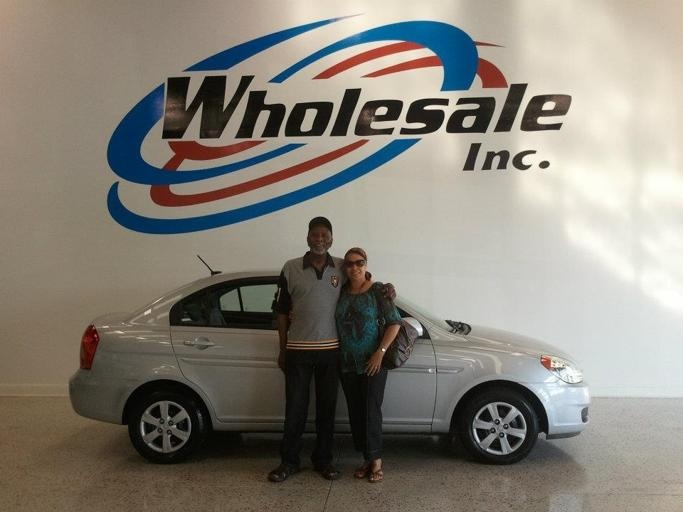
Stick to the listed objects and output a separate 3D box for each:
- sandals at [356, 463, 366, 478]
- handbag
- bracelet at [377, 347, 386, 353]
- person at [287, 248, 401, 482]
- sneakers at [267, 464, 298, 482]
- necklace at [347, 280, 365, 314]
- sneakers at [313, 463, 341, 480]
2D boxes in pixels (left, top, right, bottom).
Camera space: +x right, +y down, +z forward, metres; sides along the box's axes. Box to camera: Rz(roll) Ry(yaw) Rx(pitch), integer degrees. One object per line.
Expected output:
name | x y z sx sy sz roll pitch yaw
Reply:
sandals | 0.189 2.016 5.199 0.073 0.045 0.173 -3 12 4
handbag | 0.486 0.635 5.142 0.321 0.712 0.472 -1 23 32
bracelet | 0.373 0.846 4.989 0.050 0.055 0.049 2 -8 -15
person | 0.255 0.991 5.143 0.552 2.118 0.355 3 7 33
sneakers | -0.533 1.998 5.135 0.117 0.139 0.319 5 -6 37
necklace | 0.133 0.340 5.158 0.118 0.195 0.169 -3 1 -10
sneakers | -0.123 1.983 5.112 0.113 0.092 0.230 2 -7 -36
